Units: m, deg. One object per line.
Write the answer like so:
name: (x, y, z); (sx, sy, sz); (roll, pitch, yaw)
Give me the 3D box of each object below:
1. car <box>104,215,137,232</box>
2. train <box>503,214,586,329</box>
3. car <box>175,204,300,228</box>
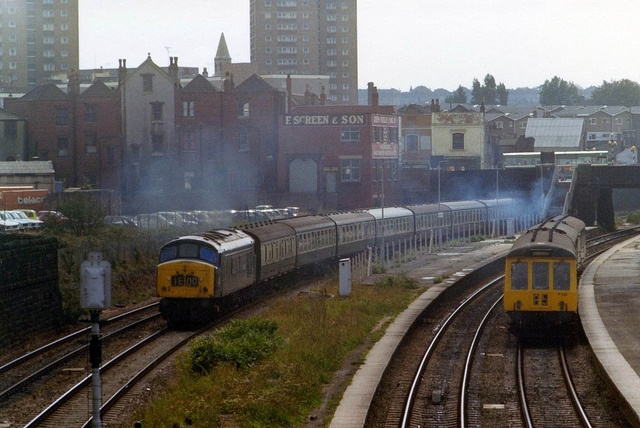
car: (-15.295, 0.888, 57.777); (2.202, 1.165, 1.516); (-1, 3, 9)
train: (10.280, 2.615, 34.319); (2.853, 4.012, 6.418); (3, 7, 23)
car: (-7.273, 0.097, 63.130); (1.183, 1.144, 7.166); (3, 8, 39)
